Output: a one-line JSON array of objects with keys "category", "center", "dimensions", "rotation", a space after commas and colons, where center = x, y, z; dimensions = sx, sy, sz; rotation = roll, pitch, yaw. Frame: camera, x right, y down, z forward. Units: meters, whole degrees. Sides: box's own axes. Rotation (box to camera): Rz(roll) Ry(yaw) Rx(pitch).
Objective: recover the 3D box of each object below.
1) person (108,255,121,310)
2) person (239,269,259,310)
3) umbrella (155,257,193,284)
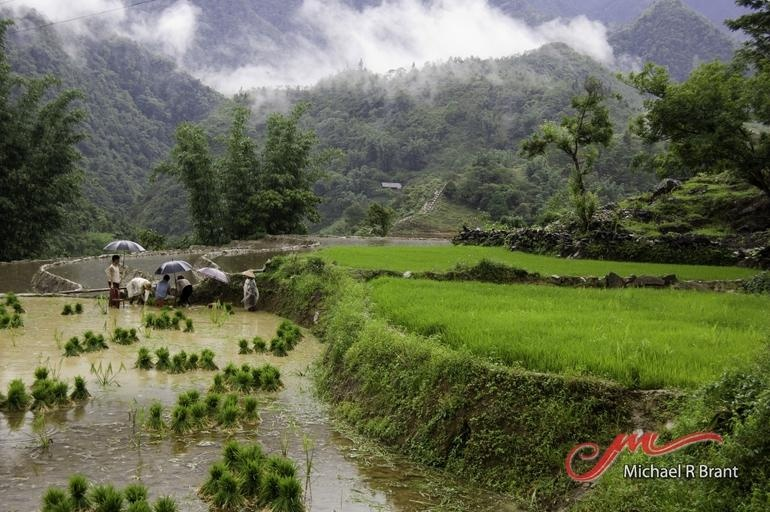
[{"category": "person", "center": [-10.149, 0.915, 23.404], "dimensions": [0.476, 1.969, 1.476], "rotation": [3, -4, -22]}, {"category": "person", "center": [-5.430, 1.372, 25.420], "dimensions": [0.691, 1.614, 1.167], "rotation": [2, -4, -12]}, {"category": "umbrella", "center": [-7.857, 0.415, 23.759], "dimensions": [1.390, 0.619, 1.376], "rotation": [-2, 3, 9]}]
